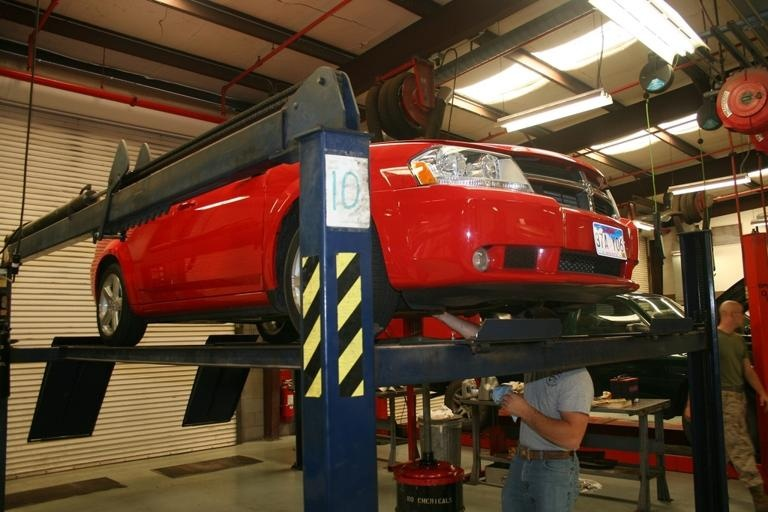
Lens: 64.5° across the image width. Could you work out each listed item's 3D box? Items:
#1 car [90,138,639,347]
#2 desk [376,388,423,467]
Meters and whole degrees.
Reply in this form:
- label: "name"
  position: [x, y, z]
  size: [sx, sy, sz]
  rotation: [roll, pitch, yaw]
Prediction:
- label: "car"
  position: [-0.539, -0.033, 5.180]
  size: [3.797, 1.181, 2.135]
  rotation: [-8, -9, 40]
- label: "desk"
  position: [0.255, 2.445, 8.785]
  size: [0.566, 0.778, 0.517]
  rotation: [-7, -13, -27]
